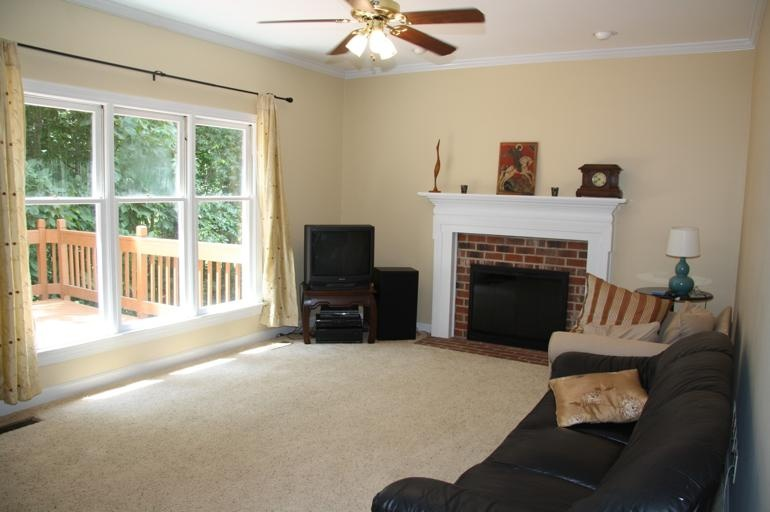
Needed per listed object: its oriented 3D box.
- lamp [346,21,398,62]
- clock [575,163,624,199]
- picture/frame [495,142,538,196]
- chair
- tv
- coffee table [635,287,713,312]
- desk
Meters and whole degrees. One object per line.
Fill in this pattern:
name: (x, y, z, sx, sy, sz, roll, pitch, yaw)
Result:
lamp: (-0.166, -1.427, 3.730, 0.437, 0.197, 0.445, 13, 16, 20)
clock: (2.243, -0.722, 5.959, 0.604, 0.504, 0.338, 1, 4, 23)
picture/frame: (1.492, -0.978, 6.268, 0.610, 0.807, 0.056, 3, -1, 18)
chair: (1.872, 0.691, 4.461, 0.716, 0.555, 0.776, -1, 0, 41)
tv: (-0.578, 0.001, 6.672, 1.147, 0.960, 0.653, -1, 2, -17)
coffee table: (2.727, 0.374, 5.290, 0.443, 0.263, 0.436, -7, 9, -40)
desk: (-0.522, 0.509, 6.479, 0.899, 0.690, 0.618, 0, 7, -4)
